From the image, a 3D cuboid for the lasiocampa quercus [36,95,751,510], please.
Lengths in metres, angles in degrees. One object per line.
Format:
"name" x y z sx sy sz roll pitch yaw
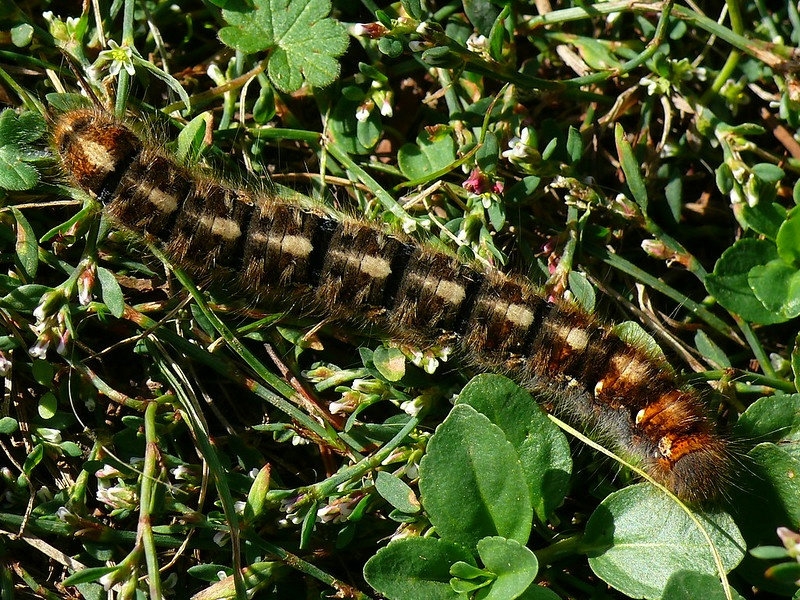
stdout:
"lasiocampa quercus" -0.122 0.076 4.390 3.953 0.446 1.027 24 69 5
